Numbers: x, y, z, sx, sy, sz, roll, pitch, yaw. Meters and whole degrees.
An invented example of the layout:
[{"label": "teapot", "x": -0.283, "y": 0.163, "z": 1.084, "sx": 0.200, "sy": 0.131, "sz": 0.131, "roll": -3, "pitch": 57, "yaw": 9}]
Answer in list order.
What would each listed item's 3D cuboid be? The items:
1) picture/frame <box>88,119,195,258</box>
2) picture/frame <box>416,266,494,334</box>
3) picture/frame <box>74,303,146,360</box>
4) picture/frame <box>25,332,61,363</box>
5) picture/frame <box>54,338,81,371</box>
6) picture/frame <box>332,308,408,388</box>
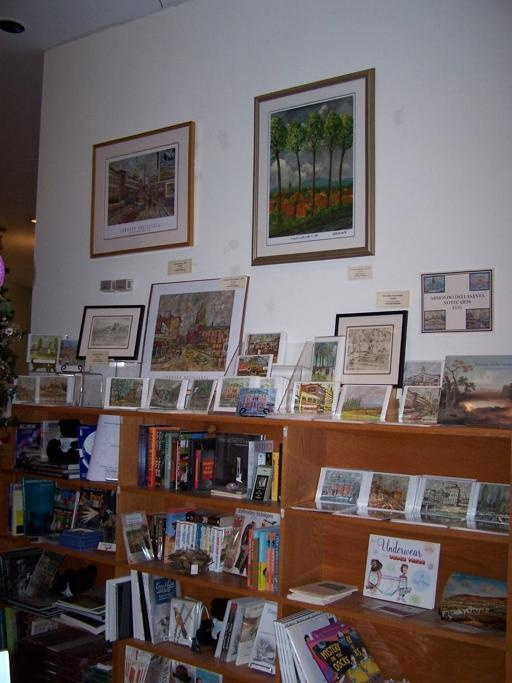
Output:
[{"label": "picture/frame", "x": -0.622, "y": -0.843, "z": 3.024, "sx": 0.862, "sy": 0.739, "sz": 0.035, "roll": -2, "pitch": -5, "yaw": 37}, {"label": "picture/frame", "x": 0.761, "y": -0.153, "z": 2.029, "sx": 0.253, "sy": 0.224, "sz": 0.020, "roll": 2, "pitch": 1, "yaw": 40}, {"label": "picture/frame", "x": -0.830, "y": -0.048, "z": 3.040, "sx": 0.462, "sy": 0.212, "sz": 0.126, "roll": 2, "pitch": -2, "yaw": 33}, {"label": "picture/frame", "x": -1.259, "y": 0.041, "z": 3.203, "sx": 0.179, "sy": 0.173, "sz": 0.024, "roll": 5, "pitch": -14, "yaw": -21}, {"label": "picture/frame", "x": -1.113, "y": 0.086, "z": 3.191, "sx": 0.188, "sy": 0.215, "sz": 0.024, "roll": -3, "pitch": -4, "yaw": 36}, {"label": "picture/frame", "x": 0.464, "y": 0.037, "z": 2.153, "sx": 0.300, "sy": 0.306, "sz": 0.013, "roll": -4, "pitch": -14, "yaw": 34}]
